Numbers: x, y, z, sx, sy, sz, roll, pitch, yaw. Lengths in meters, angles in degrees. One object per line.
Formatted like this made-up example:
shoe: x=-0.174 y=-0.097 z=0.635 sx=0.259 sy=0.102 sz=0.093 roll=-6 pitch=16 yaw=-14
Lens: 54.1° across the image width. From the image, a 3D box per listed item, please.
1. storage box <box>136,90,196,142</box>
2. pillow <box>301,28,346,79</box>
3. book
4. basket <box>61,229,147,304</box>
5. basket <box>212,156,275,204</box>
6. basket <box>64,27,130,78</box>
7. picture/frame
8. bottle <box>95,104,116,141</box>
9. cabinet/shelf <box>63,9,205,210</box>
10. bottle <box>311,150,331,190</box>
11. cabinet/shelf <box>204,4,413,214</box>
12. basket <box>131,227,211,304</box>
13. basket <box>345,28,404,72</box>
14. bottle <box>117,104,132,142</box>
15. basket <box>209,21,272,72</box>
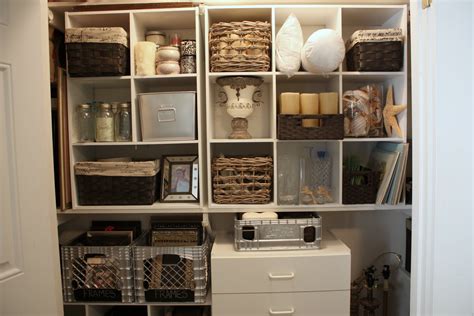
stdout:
storage box: x=-0.488 y=-0.284 z=3.026 sx=0.342 sy=0.267 sz=0.350 roll=0 pitch=3 yaw=1
pillow: x=0.567 y=-0.701 z=3.197 sx=0.276 sy=0.291 sz=0.317 roll=-24 pitch=19 yaw=6
book: x=1.052 y=0.092 z=3.259 sx=0.235 sy=0.418 sz=0.283 roll=0 pitch=6 yaw=8
basket: x=-0.956 y=0.735 z=3.315 sx=0.460 sy=0.368 sz=0.475 roll=1 pitch=-4 yaw=0
basket: x=0.110 y=0.173 z=3.300 sx=0.482 sy=0.364 sz=0.322 roll=-4 pitch=-10 yaw=32
basket: x=-0.959 y=-0.718 z=3.246 sx=0.335 sy=0.269 sz=0.350 roll=-1 pitch=3 yaw=-1
picture/frame: x=-0.403 y=0.146 z=3.252 sx=0.321 sy=0.411 sz=0.017 roll=-1 pitch=-12 yaw=-1
bottle: x=-0.916 y=-0.248 z=3.200 sx=0.130 sy=0.256 sz=0.053 roll=-3 pitch=6 yaw=-19
cabinet/shelf: x=-0.894 y=-0.629 z=3.813 sx=0.890 sy=0.435 sz=1.307 roll=-3 pitch=32 yaw=-20
bottle: x=0.592 y=0.125 z=3.267 sx=0.153 sy=0.276 sz=0.170 roll=0 pitch=1 yaw=2
cabinet/shelf: x=0.497 y=-0.352 z=3.180 sx=1.366 sy=1.362 sz=0.411 roll=1 pitch=1 yaw=-1
basket: x=-0.443 y=0.814 z=3.392 sx=0.616 sy=0.349 sz=0.646 roll=-6 pitch=-12 yaw=23
basket: x=0.936 y=-0.733 z=3.140 sx=0.248 sy=0.225 sz=0.352 roll=0 pitch=3 yaw=0
bottle: x=-0.788 y=-0.252 z=3.204 sx=0.102 sy=0.254 sz=0.046 roll=-2 pitch=6 yaw=-15
basket: x=0.124 y=-0.754 z=3.208 sx=0.442 sy=0.326 sz=0.294 roll=8 pitch=7 yaw=35
